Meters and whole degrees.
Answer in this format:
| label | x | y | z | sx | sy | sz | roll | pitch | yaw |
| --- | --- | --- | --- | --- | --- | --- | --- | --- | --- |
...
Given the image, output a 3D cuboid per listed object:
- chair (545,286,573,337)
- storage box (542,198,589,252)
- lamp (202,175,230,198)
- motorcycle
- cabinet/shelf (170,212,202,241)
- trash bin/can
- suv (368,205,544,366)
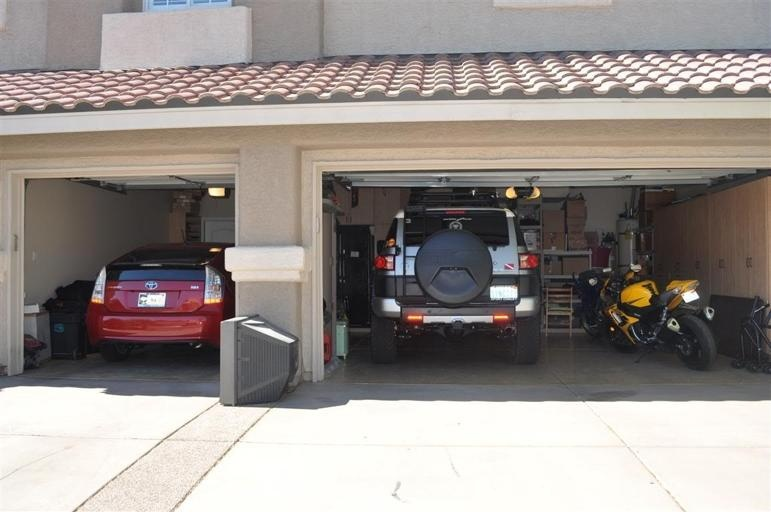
| label | x | y | z | sx | sy | sz | roll | pitch | yaw |
| --- | --- | --- | --- | --- | --- | --- | --- | --- | --- |
| chair | 3.473 | 1.072 | 14.920 | 0.562 | 0.899 | 0.761 | 1 | 3 | 13 |
| storage box | 3.655 | -0.636 | 15.270 | 0.897 | 1.032 | 0.374 | 1 | 3 | 8 |
| lamp | -3.005 | -1.262 | 13.438 | 0.381 | 0.364 | 0.551 | 4 | 1 | 14 |
| motorcycle | 4.271 | 0.911 | 11.974 | 1.008 | 1.505 | 2.249 | -1 | 3 | -12 |
| cabinet/shelf | -4.143 | -0.621 | 15.493 | 0.648 | 0.593 | 0.406 | -1 | 3 | -16 |
| trash bin/can | -5.091 | 1.020 | 12.003 | 0.892 | 1.141 | 1.210 | 1 | -8 | -22 |
| suv | 1.049 | 0.315 | 11.136 | 1.853 | 1.500 | 3.042 | 0 | 3 | 5 |
